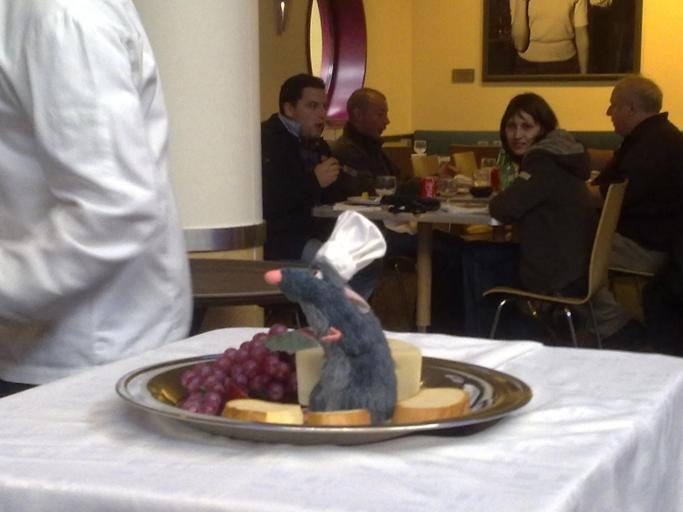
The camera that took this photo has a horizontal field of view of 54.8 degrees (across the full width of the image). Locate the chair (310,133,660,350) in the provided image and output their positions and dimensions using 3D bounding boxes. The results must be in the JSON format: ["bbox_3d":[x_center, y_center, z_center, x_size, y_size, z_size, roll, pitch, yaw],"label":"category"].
[{"bbox_3d":[0.703,-0.062,2.932,1.113,0.581,0.634,3,6,26],"label":"chair"}]

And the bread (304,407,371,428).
[{"bbox_3d":[-0.003,0.159,0.641,0.062,0.017,0.026,0,9,3],"label":"bread"}]

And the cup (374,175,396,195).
[{"bbox_3d":[0.240,-0.394,3.653,0.105,0.122,0.107,0,6,0],"label":"cup"}]

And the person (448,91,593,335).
[{"bbox_3d":[0.897,-0.210,3.265,0.593,1.218,0.769,0,9,0],"label":"person"}]

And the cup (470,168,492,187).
[{"bbox_3d":[0.817,-0.457,3.855,0.115,0.140,0.121,2,0,0],"label":"cup"}]

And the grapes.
[{"bbox_3d":[-0.139,0.150,0.776,0.206,0.097,0.089,-10,-7,-5],"label":"grapes"}]
